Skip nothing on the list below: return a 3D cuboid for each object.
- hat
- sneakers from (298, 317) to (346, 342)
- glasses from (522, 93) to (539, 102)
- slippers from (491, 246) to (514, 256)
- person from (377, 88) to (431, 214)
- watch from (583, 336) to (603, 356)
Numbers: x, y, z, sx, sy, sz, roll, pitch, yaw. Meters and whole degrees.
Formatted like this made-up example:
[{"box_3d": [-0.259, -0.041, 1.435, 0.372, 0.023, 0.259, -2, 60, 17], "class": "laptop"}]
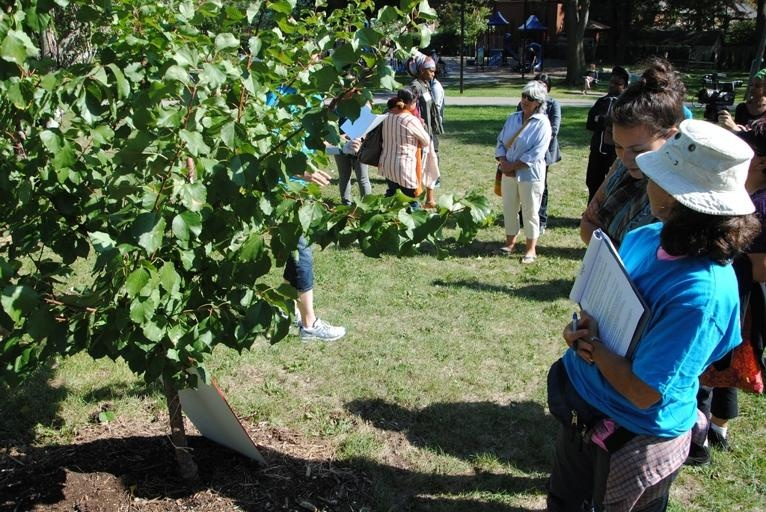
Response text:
[{"box_3d": [1.528, -0.478, 2.988, 0.546, 0.289, 0.633, 13, 29, 11], "class": "hat"}, {"box_3d": [-0.594, 0.723, 5.965, 0.467, 0.210, 0.181, -1, 16, -13], "class": "sneakers"}, {"box_3d": [1.704, -1.824, 7.060, 0.171, 0.082, 0.081, 9, 15, 11], "class": "glasses"}, {"box_3d": [1.573, -0.060, 8.151, 0.317, 0.132, 0.106, 3, 2, -21], "class": "slippers"}, {"box_3d": [0.261, -1.433, 7.850, 0.628, 1.367, 0.443, 7, 15, 5], "class": "person"}, {"box_3d": [1.062, 0.449, 3.061, 0.032, 0.081, 0.070, 2, 1, -34], "class": "watch"}]
